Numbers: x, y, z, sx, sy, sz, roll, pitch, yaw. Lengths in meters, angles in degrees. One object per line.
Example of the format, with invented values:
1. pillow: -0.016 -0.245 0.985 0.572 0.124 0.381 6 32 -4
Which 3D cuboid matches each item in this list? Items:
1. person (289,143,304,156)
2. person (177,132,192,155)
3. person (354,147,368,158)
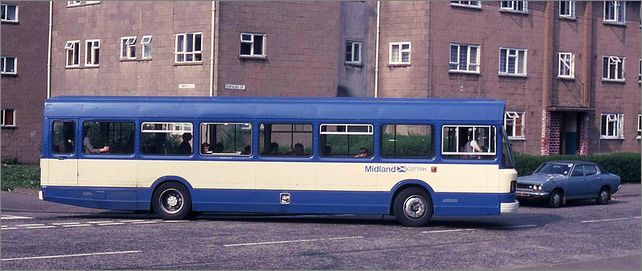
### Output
1. person: -1.499 0.992 50.400 1.052 0.991 0.716 4 9 5
2. person: -9.274 0.646 50.444 1.042 1.348 0.370 7 -3 -7
3. person: 2.832 1.175 49.989 0.810 0.670 0.205 0 12 1
